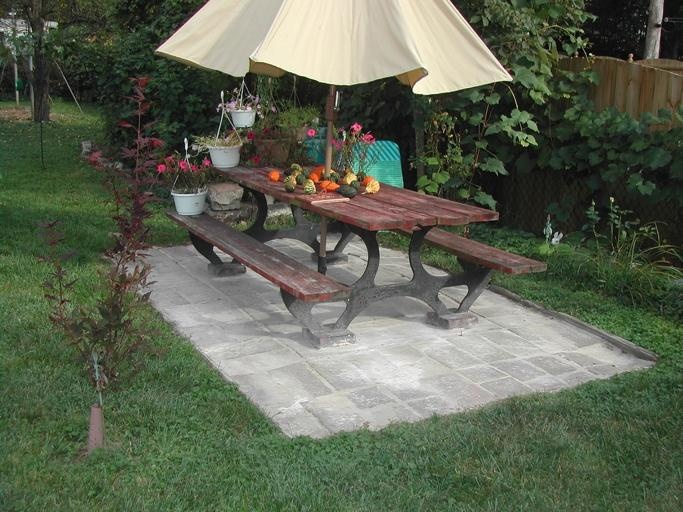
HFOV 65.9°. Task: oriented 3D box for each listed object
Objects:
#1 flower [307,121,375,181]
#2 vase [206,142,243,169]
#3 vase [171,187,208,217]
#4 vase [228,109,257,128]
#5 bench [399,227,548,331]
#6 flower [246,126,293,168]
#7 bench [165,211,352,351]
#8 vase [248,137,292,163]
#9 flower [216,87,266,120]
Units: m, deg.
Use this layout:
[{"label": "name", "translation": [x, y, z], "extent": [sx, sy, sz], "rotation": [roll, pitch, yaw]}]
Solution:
[{"label": "flower", "translation": [0.047, -1.221, 6.036], "extent": [1.074, 0.679, 1.046], "rotation": [2, 13, -2]}, {"label": "vase", "translation": [-1.290, -1.128, 5.912], "extent": [0.318, 0.181, 0.310], "rotation": [-11, 15, -43]}, {"label": "vase", "translation": [-1.633, -0.591, 5.678], "extent": [0.327, 0.185, 0.325], "rotation": [6, 12, 29]}, {"label": "vase", "translation": [-1.168, -1.644, 6.297], "extent": [0.256, 0.140, 0.244], "rotation": [-2, 6, -13]}, {"label": "bench", "translation": [1.131, 0.260, 4.950], "extent": [0.726, 0.760, 1.812], "rotation": [0, 12, -23]}, {"label": "flower", "translation": [-0.921, -1.287, 6.293], "extent": [0.573, 0.244, 0.580], "rotation": [2, 4, 42]}, {"label": "bench", "translation": [-0.823, 0.152, 5.048], "extent": [0.512, 0.590, 2.596], "rotation": [-20, 28, -31]}, {"label": "vase", "translation": [-0.827, -1.255, 6.220], "extent": [0.389, 0.252, 0.370], "rotation": [0, 8, -7]}, {"label": "flower", "translation": [-1.224, -1.898, 6.524], "extent": [0.523, 0.334, 0.350], "rotation": [6, 26, 4]}]
